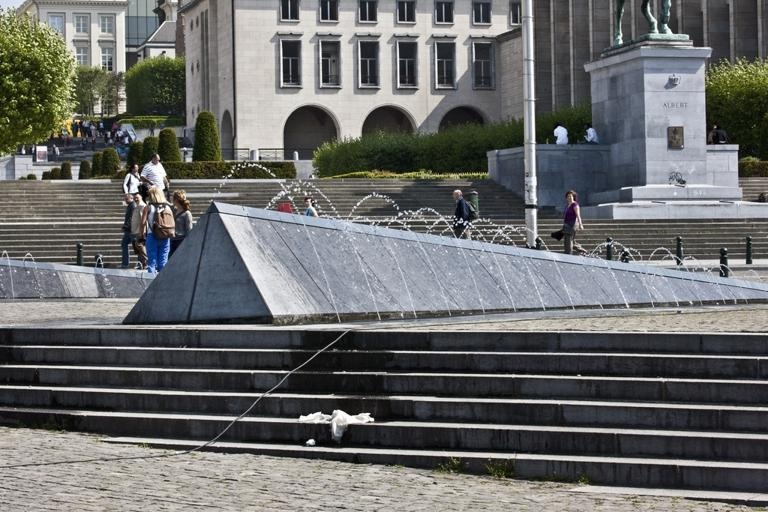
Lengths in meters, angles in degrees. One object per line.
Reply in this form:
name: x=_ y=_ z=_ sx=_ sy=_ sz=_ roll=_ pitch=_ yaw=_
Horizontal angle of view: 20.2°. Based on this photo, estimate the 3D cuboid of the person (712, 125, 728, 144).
person: x=15.041 y=-5.390 z=96.008 sx=0.547 sy=0.740 sz=0.800 roll=0 pitch=4 yaw=28

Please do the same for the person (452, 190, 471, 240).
person: x=3.069 y=-1.655 z=84.541 sx=0.647 sy=1.800 sz=0.981 roll=-2 pitch=4 yaw=1

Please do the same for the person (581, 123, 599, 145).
person: x=9.243 y=-5.380 z=96.176 sx=0.865 sy=1.175 sz=1.054 roll=0 pitch=3 yaw=32
